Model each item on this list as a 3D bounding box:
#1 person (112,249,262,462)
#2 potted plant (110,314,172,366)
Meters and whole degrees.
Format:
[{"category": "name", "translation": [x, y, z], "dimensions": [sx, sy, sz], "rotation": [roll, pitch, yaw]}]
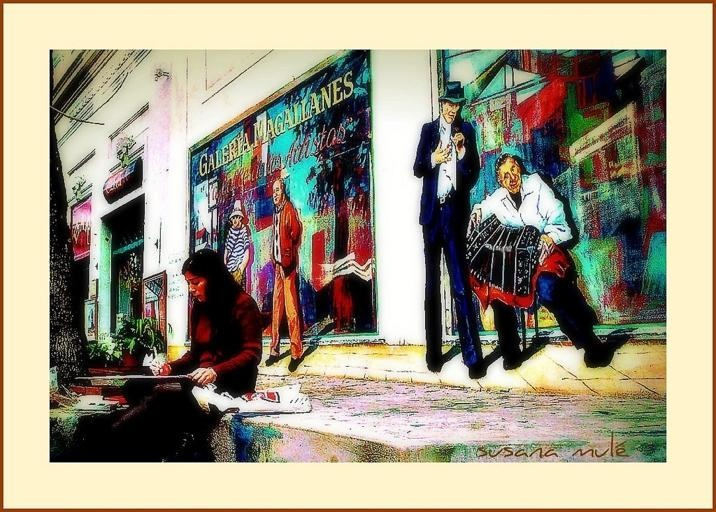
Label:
[{"category": "person", "translation": [-1.735, 0.995, 6.802], "dimensions": [1.489, 2.255, 0.980], "rotation": [11, -12, -44]}, {"category": "potted plant", "translation": [-2.218, 0.850, 6.926], "dimensions": [0.472, 0.490, 0.494], "rotation": [-1, -7, -10]}]
